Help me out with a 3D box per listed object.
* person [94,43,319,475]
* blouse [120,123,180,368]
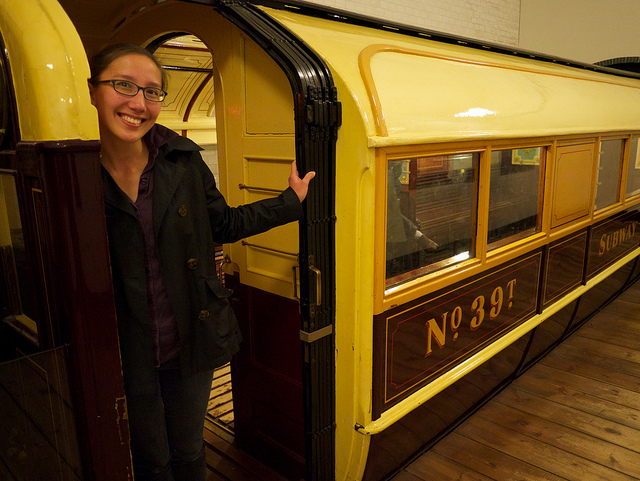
[{"bbox_3d":[-0.555,0.177,2.283,0.672,2.063,0.355,-9,18,-23],"label":"person"},{"bbox_3d":[-0.704,0.032,2.170,0.190,1.044,0.335,-3,17,-6],"label":"blouse"}]
